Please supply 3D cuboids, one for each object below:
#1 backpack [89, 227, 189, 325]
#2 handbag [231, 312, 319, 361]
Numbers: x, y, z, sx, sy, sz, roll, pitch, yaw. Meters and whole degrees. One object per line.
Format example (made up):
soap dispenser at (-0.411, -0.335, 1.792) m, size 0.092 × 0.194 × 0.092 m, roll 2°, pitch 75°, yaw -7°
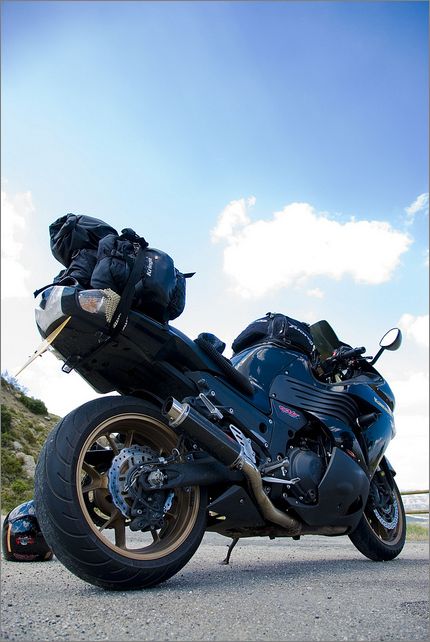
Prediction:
backpack at (-0.380, -0.249, 2.589) m, size 0.549 × 0.432 × 0.383 m, roll 13°, pitch -5°, yaw -21°
handbag at (0.486, 0.123, 3.698) m, size 0.426 × 0.220 × 0.430 m, roll 24°, pitch -31°, yaw -25°
